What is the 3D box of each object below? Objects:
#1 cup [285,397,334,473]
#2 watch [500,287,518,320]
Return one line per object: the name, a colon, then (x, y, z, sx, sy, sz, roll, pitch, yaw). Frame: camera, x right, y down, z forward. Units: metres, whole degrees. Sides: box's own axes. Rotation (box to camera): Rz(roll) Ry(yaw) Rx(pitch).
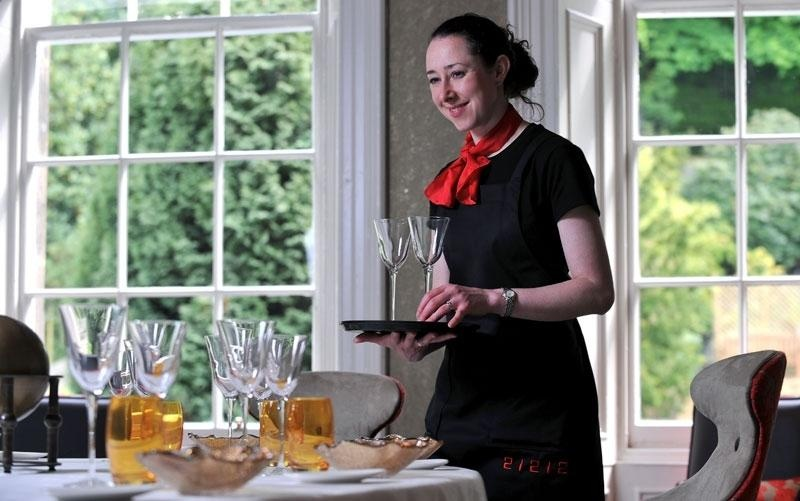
cup: (-0.284, 0.563, 3.359, 0.199, 0.212, 0.200, 0, -7, 0)
watch: (0.384, 0.179, 3.710, 0.053, 0.092, 0.035, 0, -4, 5)
